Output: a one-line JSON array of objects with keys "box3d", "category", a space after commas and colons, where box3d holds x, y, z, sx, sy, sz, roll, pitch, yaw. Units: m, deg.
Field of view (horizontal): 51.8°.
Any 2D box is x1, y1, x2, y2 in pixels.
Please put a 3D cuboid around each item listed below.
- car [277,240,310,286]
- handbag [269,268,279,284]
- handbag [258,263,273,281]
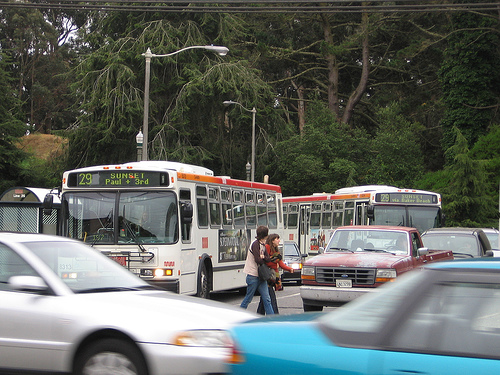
[{"box3d": [1.639, 3.444, 23.765, 1.464, 1.825, 3.623, -3, -7, 3], "category": "car"}, {"box3d": [0.532, 1.850, 11.005, 0.246, 0.558, 0.362, -1, -3, 3], "category": "handbag"}, {"box3d": [0.327, 1.745, 10.859, 0.115, 0.291, 0.214, -22, 13, 46], "category": "handbag"}]
